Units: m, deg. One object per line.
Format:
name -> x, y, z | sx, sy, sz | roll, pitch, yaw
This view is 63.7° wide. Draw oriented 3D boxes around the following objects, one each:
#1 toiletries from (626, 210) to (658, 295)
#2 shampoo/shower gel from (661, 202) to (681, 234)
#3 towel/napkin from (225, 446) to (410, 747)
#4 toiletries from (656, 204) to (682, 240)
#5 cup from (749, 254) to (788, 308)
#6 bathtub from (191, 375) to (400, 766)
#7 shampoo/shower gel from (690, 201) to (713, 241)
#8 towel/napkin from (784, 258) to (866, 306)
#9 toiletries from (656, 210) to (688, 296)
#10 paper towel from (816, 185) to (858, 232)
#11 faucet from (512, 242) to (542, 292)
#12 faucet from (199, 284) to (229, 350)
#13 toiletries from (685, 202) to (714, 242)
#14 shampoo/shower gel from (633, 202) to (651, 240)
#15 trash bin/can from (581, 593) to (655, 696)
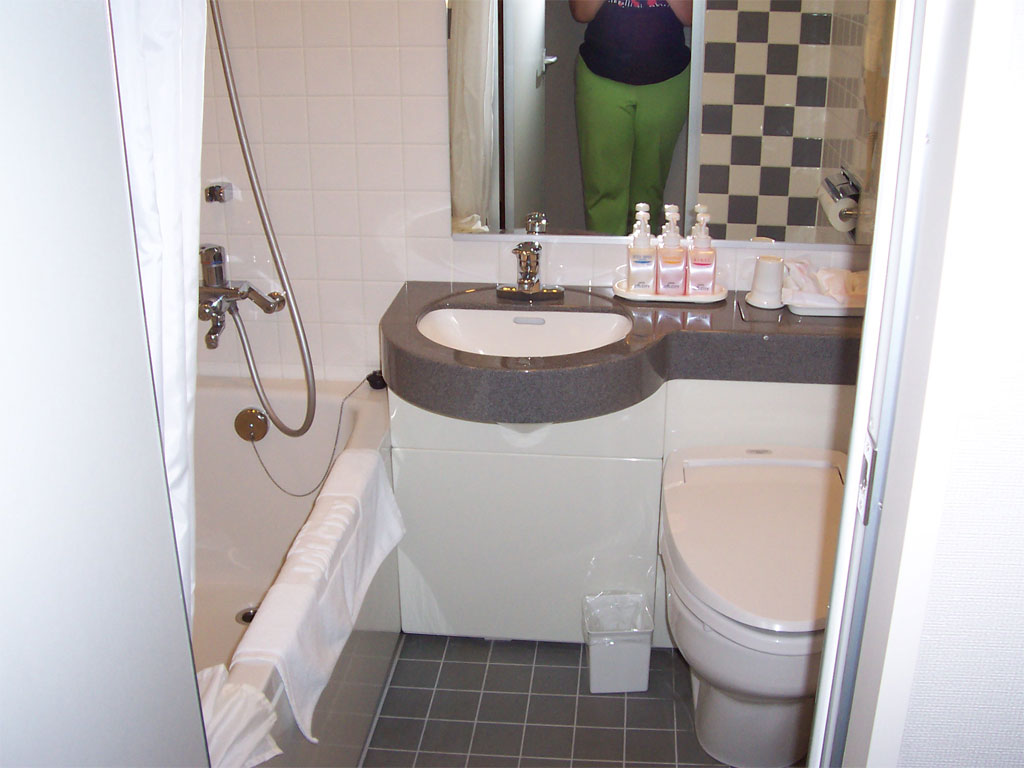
toiletries -> 0.339, -0.325, 2.137 | 0.089, 0.240, 0.094 | 8, -12, -24
shampoo/shower gel -> 0.413, -0.417, 2.108 | 0.044, 0.089, 0.134 | 0, 22, 11
towel/napkin -> -0.408, 0.473, 1.817 | 0.201, 0.193, 0.652 | 7, 31, 2
toiletries -> 0.404, -0.414, 2.106 | 0.037, 0.100, 0.041 | 4, 50, 13
cup -> 0.636, -0.251, 2.060 | 0.090, 0.122, 0.079 | 1, 22, 14
bathtub -> -0.533, 0.419, 1.911 | 0.524, 0.362, 0.850 | 2, 21, -4
shampoo/shower gel -> 0.482, -0.411, 2.100 | 0.051, 0.094, 0.129 | 1, 22, 12
towel/napkin -> 0.779, -0.252, 2.051 | 0.193, 0.086, 0.198 | 4, 24, 20
toiletries -> 0.416, -0.319, 2.130 | 0.077, 0.242, 0.081 | 0, -11, 17
paper towel -> 0.813, -0.451, 2.062 | 0.069, 0.081, 0.096 | -2, 45, -15
faucet -> 0.043, -0.314, 2.174 | 0.067, 0.126, 0.108 | -3, 21, 3
faucet -> -0.668, -0.168, 1.825 | 0.043, 0.168, 0.066 | 6, 7, 18
toiletries -> 0.481, -0.413, 2.099 | 0.051, 0.146, 0.055 | 16, 44, 23
shampoo/shower gel -> 0.330, -0.414, 2.098 | 0.042, 0.094, 0.093 | -1, 22, 8
trash bin/can -> 0.244, 0.647, 2.175 | 0.221, 0.318, 0.220 | 0, 8, 2
